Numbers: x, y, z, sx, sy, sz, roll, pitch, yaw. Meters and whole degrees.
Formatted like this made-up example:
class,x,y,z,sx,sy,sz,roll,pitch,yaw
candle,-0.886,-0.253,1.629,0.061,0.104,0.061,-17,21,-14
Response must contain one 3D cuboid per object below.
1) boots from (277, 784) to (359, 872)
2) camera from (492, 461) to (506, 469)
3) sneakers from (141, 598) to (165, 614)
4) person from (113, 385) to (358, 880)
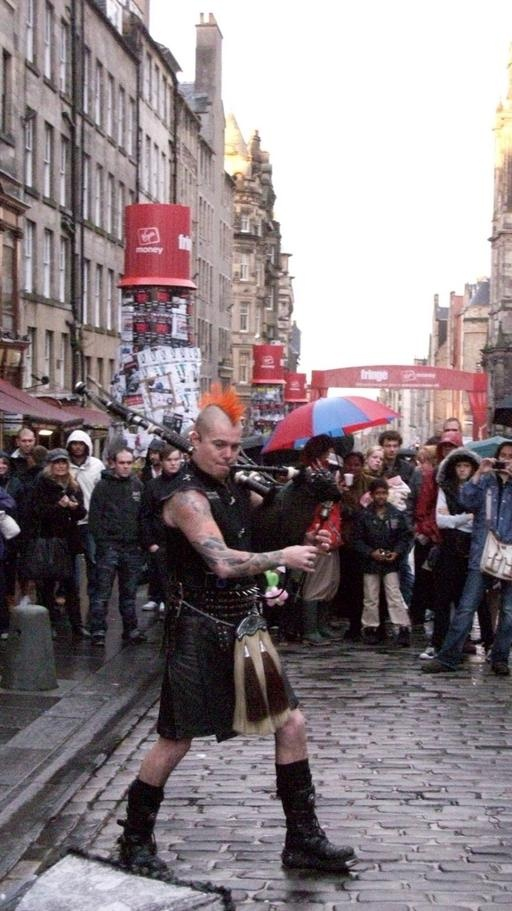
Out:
class,x,y,z,sx,sy,sz,roll,pitch,yaw
boots,0.156,1.365,3.555,0.375,0.367,0.175,1,-1,2
camera,1.763,0.078,7.830,0.111,0.064,0.092,2,-3,-17
sneakers,-1.285,1.875,12.055,0.405,0.177,0.145,3,-3,3
person,-0.094,0.615,3.332,0.773,1.743,0.660,0,-3,4
